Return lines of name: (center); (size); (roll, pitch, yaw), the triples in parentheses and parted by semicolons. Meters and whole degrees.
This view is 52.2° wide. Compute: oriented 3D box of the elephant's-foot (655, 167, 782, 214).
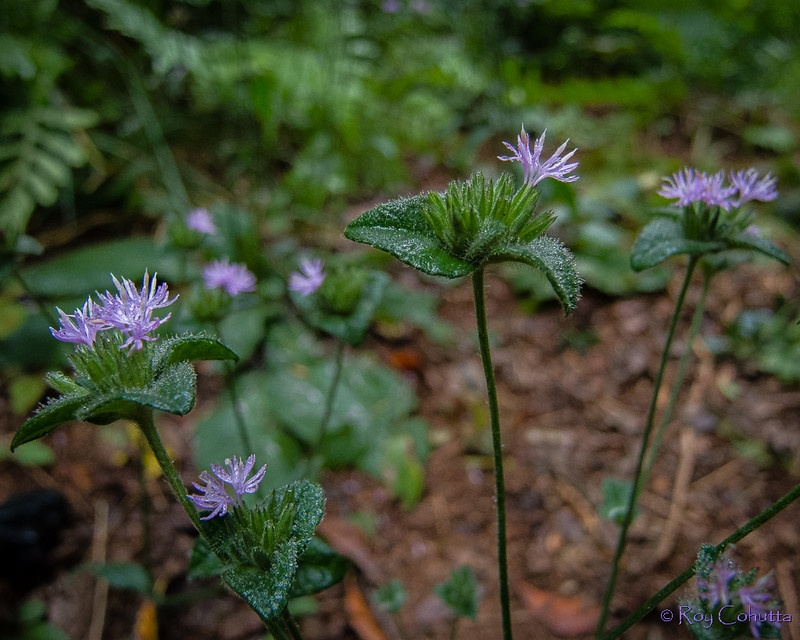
elephant's-foot: (0.659, -0.268, 1.697); (0.164, 0.078, 0.161); (0, 4, 34)

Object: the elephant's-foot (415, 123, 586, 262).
elephant's-foot: (0.213, -0.238, 1.723); (0.296, 0.180, 0.299); (-2, 42, 12)

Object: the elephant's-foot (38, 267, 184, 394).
elephant's-foot: (-0.533, -0.004, 1.624); (0.249, 0.157, 0.219); (-32, 13, -30)

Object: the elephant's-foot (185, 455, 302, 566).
elephant's-foot: (-0.317, 0.386, 1.659); (0.233, 0.132, 0.168); (33, 27, -4)
